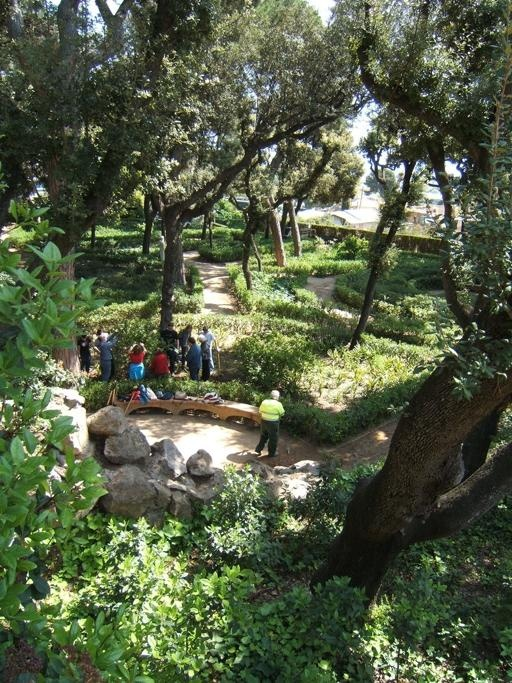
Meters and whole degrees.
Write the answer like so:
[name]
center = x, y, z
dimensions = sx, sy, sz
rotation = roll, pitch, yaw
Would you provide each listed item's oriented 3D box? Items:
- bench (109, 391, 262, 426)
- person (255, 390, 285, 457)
[bench]
center = -1.276, 1.207, 10.214
dimensions = 2.752, 0.510, 0.719
rotation = 4, 8, 3
[person]
center = 0.225, 1.277, 8.905
dimensions = 0.381, 1.137, 0.974
rotation = 5, 8, 1
